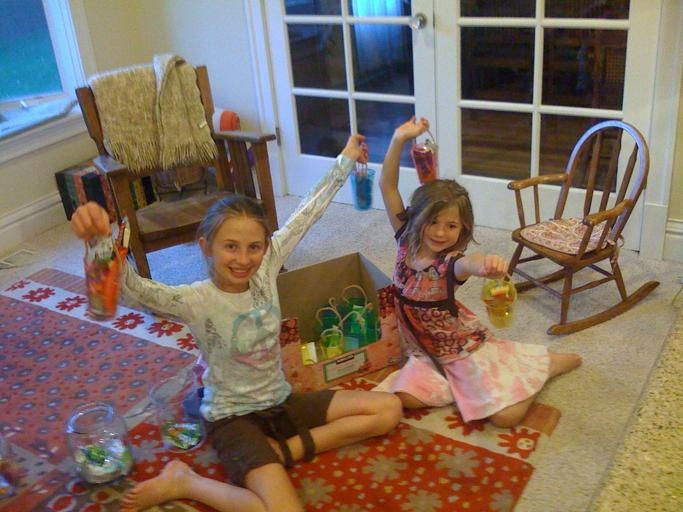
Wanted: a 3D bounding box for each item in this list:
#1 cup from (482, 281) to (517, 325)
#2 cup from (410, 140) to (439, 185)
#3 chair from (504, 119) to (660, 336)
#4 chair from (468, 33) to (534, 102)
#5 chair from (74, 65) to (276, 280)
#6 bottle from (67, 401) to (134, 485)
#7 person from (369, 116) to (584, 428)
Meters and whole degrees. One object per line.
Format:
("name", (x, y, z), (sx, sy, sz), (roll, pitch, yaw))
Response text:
("cup", (0.492, 0.172, 1.533), (0.113, 0.124, 0.156), (-3, 66, 11))
("cup", (0.327, -0.366, 1.890), (0.116, 0.163, 0.112), (-11, 20, 4))
("chair", (1.017, -0.124, 2.144), (0.613, 0.813, 0.454), (-18, 29, -11))
("chair", (0.893, -1.070, 2.732), (0.403, 0.360, 0.310), (2, 21, 4))
("chair", (-0.957, -0.440, 2.756), (0.821, 1.027, 0.748), (-24, 16, -32))
("bottle", (-0.786, 0.622, 1.571), (0.173, 0.243, 0.176), (-2, 31, 1))
("person", (0.403, 0.072, 1.680), (0.585, 1.048, 0.668), (7, 26, 35))
